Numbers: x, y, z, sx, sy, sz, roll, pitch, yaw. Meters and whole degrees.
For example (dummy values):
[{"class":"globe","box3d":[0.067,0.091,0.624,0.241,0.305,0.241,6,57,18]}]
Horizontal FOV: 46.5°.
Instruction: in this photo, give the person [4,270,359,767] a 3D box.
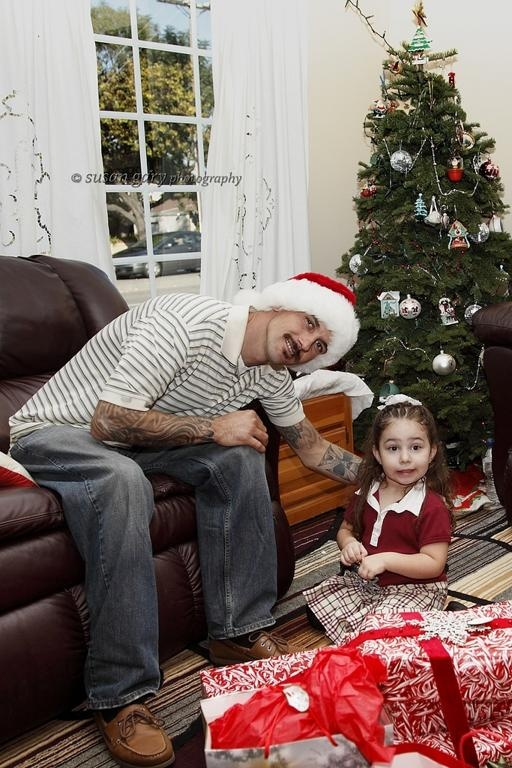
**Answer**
[{"class":"person","box3d":[-0.108,0.137,1.729,0.911,1.185,0.916,11,9,38]}]
